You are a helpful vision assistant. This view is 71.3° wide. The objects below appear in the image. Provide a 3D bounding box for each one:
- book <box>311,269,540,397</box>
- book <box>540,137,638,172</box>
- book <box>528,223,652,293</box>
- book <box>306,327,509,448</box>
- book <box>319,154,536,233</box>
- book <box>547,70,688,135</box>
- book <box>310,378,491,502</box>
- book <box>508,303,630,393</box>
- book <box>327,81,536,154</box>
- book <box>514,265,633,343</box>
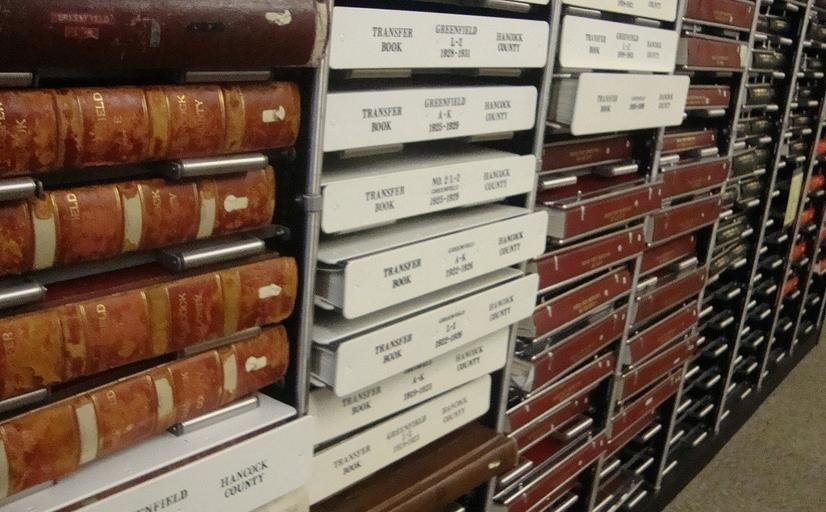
[{"bbox_3d":[0.030,0.176,1.304,0.340,0.072,0.308,-16,20,-42],"label":"book"},{"bbox_3d":[0.534,-0.322,1.803,0.238,0.048,0.228,-15,21,-32],"label":"book"},{"bbox_3d":[0.496,-0.049,1.932,0.423,0.080,0.357,-15,22,-13],"label":"book"},{"bbox_3d":[-0.018,0.315,1.318,0.300,0.063,0.292,-17,20,-35],"label":"book"},{"bbox_3d":[0.031,-0.159,1.346,0.647,0.152,0.141,-14,21,-39],"label":"book"},{"bbox_3d":[0.594,-0.456,1.685,0.357,0.082,0.315,-15,27,-33],"label":"book"},{"bbox_3d":[-0.045,0.433,1.375,0.291,0.059,0.283,-20,20,-35],"label":"book"},{"bbox_3d":[0.504,0.298,1.830,0.296,0.061,0.288,-18,19,-36],"label":"book"},{"bbox_3d":[0.050,-0.315,1.295,0.619,0.129,0.091,-13,21,-38],"label":"book"},{"bbox_3d":[0.523,0.143,1.810,0.276,0.057,0.249,-20,13,-32],"label":"book"}]
